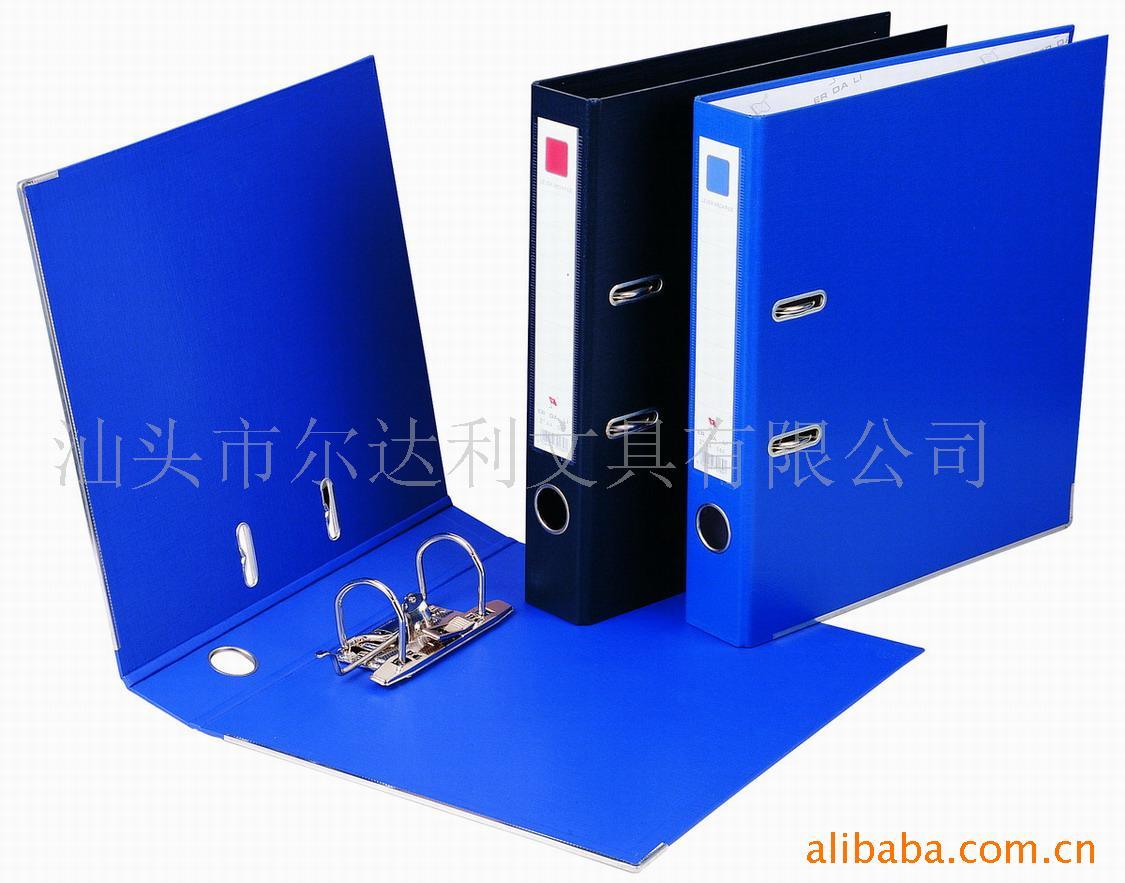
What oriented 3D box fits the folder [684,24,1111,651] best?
[{"bbox_3d":[0.527,-0.232,1.736,1.054,0.913,0.304,-18,28,-34],"label":"folder"}]
